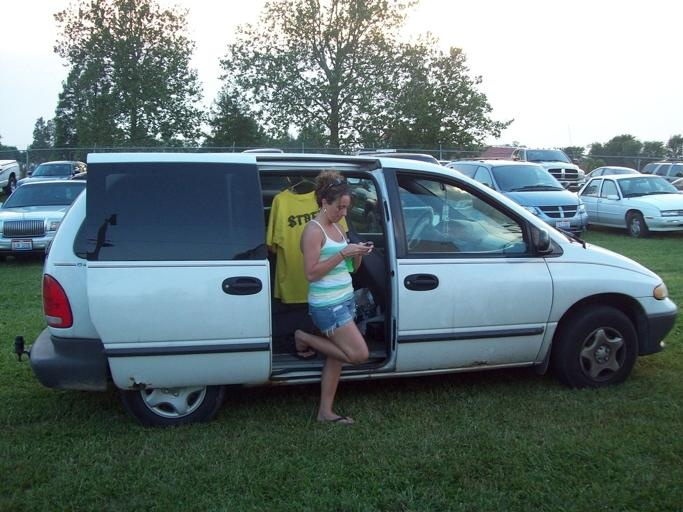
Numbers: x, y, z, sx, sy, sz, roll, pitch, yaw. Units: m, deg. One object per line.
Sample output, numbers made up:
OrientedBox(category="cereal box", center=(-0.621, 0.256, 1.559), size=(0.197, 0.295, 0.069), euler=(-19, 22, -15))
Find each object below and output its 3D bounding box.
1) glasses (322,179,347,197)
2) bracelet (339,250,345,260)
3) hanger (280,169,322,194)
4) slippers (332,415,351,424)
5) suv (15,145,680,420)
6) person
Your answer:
OrientedBox(category="glasses", center=(-0.048, -0.513, 4.328), size=(0.134, 0.141, 0.043), euler=(-6, 43, -27))
OrientedBox(category="bracelet", center=(0.004, -0.010, 4.319), size=(0.019, 0.046, 0.034), euler=(-7, 14, -42))
OrientedBox(category="hanger", center=(-0.348, -0.628, 4.867), size=(0.222, 0.236, 0.019), euler=(-15, 41, -30))
OrientedBox(category="slippers", center=(-0.001, 1.299, 4.529), size=(0.155, 0.038, 0.062), euler=(0, 29, 5))
OrientedBox(category="suv", center=(0.438, -0.023, 5.406), size=(5.569, 2.053, 2.277), euler=(-4, 10, -14))
OrientedBox(category="person", center=(-0.079, 0.339, 4.495), size=(0.617, 1.964, 0.408), euler=(-1, 13, 2))
